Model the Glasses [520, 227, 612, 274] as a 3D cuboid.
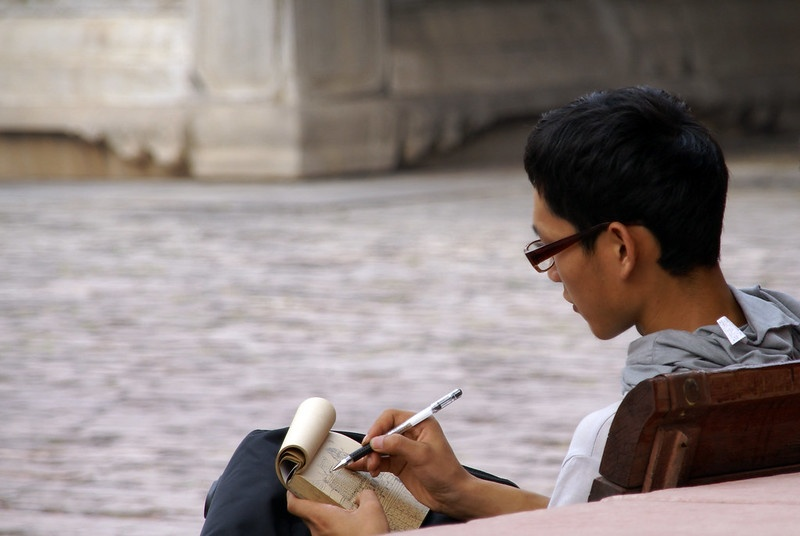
[{"bbox_3d":[0.883,-0.110,8.313,0.353,0.079,0.299,-20,-1,4],"label":"Glasses"}]
